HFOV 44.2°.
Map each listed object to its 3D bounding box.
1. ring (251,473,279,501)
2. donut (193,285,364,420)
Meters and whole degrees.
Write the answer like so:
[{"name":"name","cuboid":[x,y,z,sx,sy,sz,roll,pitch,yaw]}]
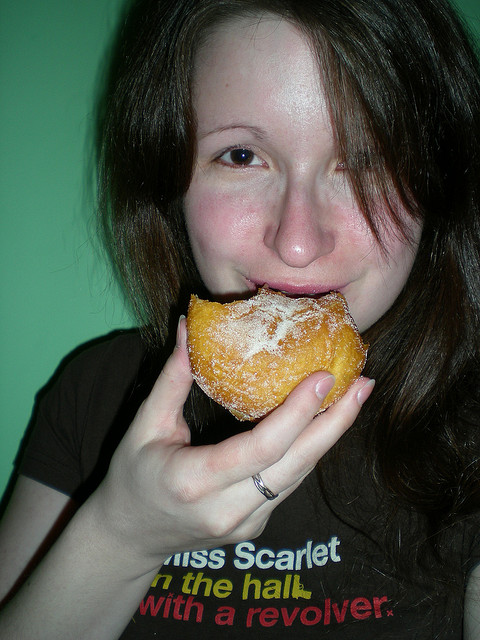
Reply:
[{"name":"ring","cuboid":[0.042,0.291,1.017,0.010,0.043,0.043,-43,2,8]},{"name":"donut","cuboid":[0.068,0.059,1.017,0.283,0.195,0.211,-18,40,-8]}]
